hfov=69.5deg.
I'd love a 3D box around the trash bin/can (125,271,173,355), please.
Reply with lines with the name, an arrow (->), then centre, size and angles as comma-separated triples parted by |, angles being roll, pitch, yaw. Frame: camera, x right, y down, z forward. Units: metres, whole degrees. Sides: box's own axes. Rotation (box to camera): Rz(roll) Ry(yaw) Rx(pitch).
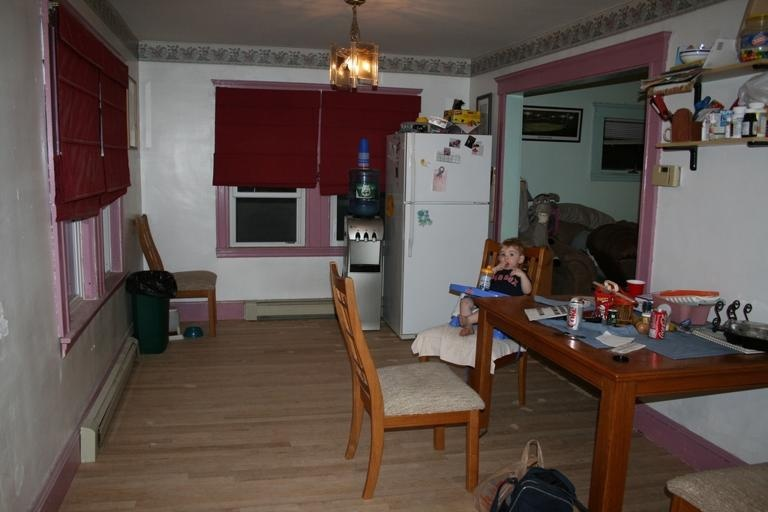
trash bin/can -> -2.177, 0.533, 5.203 | 0.427, 0.754, 0.291 | -6, 11, -24

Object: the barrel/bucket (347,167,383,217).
barrel/bucket -> -0.212, -0.681, 5.880 | 0.327, 0.516, 0.375 | -2, 10, -2

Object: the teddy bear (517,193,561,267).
teddy bear -> 1.883, -0.325, 6.966 | 0.842, 0.962, 0.381 | 3, 0, -14

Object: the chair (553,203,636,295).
chair -> 2.778, -0.213, 6.882 | 0.875, 0.654, 0.937 | 21, 1, 15

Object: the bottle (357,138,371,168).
bottle -> -0.229, -1.126, 6.024 | 0.149, 0.339, 0.400 | -2, 9, -2

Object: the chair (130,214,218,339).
chair -> -2.148, 0.187, 5.795 | 0.934, 1.163, 0.728 | 2, 7, -2

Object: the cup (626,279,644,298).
cup -> 1.678, 0.221, 3.691 | 0.120, 0.092, 0.139 | 0, -2, 1

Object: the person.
person -> 0.855, 0.208, 4.209 | 0.661, 0.755, 0.480 | 2, 8, -41

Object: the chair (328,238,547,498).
chair -> 0.140, 0.645, 4.180 | 1.379, 1.953, 1.178 | -3, 10, -9

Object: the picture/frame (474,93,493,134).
picture/frame -> 1.085, -1.547, 6.113 | 0.014, 0.466, 0.355 | 15, 25, 36
